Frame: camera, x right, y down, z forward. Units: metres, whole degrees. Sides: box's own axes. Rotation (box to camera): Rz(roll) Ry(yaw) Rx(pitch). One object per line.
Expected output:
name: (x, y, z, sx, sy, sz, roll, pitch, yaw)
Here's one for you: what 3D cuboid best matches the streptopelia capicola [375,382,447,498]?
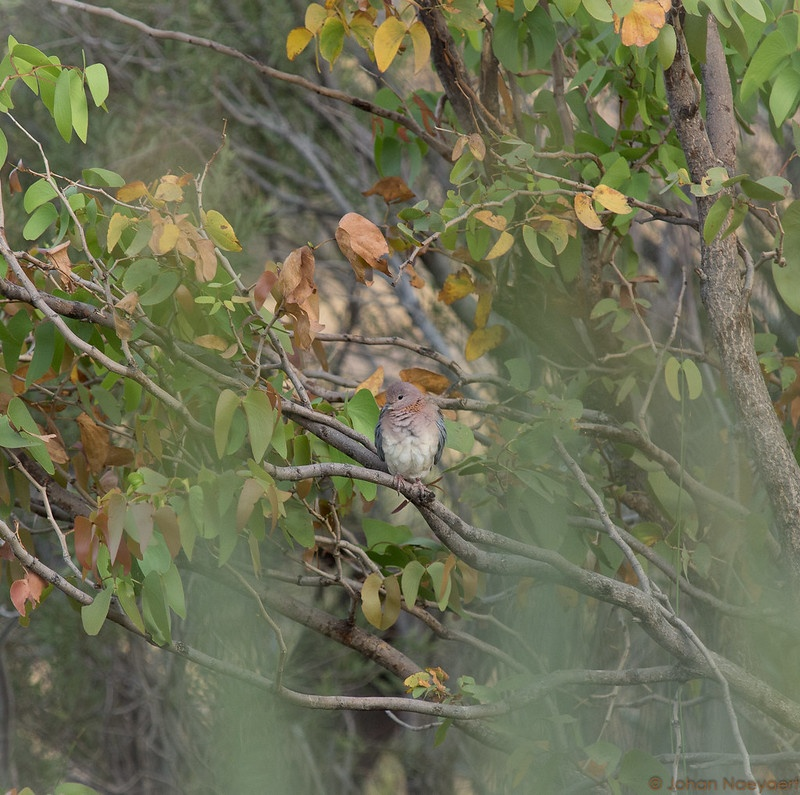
streptopelia capicola: (0.026, 0.097, 3.153, 0.159, 0.322, 0.195, 6, 17, 18)
